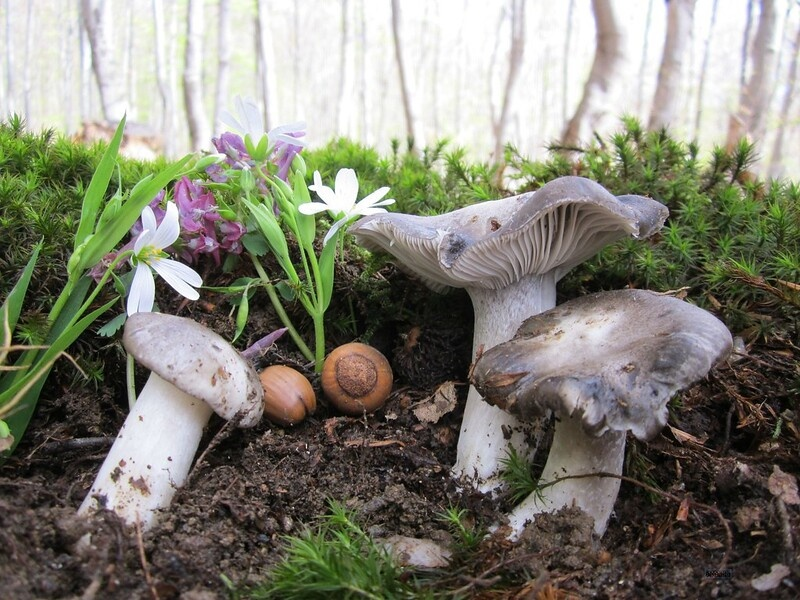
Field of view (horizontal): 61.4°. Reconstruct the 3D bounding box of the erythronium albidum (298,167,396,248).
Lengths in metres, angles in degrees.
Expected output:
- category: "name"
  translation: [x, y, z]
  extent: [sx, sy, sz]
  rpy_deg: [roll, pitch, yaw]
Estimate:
- category: "erythronium albidum"
  translation: [-0.238, -0.502, 3.615]
  extent: [0.375, 0.337, 0.322]
  rpy_deg: [1, 5, -41]
